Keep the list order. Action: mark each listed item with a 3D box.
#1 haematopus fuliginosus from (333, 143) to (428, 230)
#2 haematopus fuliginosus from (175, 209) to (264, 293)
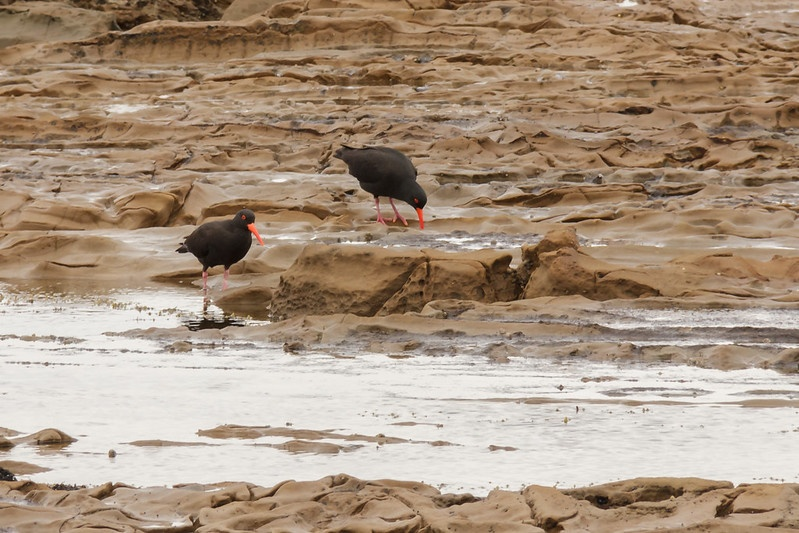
[{"bbox_3d":[-0.246,-1.214,16.481,1.276,1.048,0.468,8,9,44],"label":"haematopus fuliginosus"},{"bbox_3d":[-2.231,-0.219,14.162,0.758,0.997,0.427,2,8,-9],"label":"haematopus fuliginosus"}]
